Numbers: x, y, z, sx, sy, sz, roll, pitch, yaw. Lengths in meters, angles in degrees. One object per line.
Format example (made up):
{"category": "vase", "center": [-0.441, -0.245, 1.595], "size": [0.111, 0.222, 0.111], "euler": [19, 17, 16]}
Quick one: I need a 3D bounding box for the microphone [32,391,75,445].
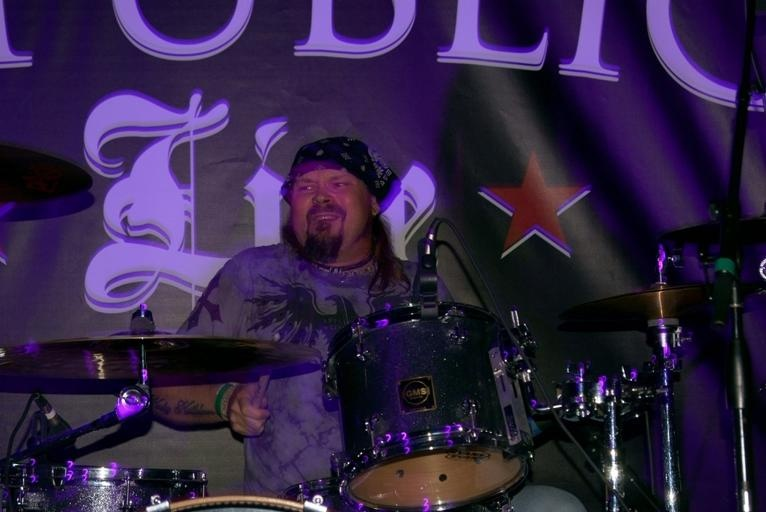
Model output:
{"category": "microphone", "center": [-1.517, 0.730, 3.878], "size": [0.154, 0.221, 0.361], "euler": [4, -21, -22]}

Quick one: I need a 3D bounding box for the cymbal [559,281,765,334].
{"category": "cymbal", "center": [1.432, 0.278, 4.442], "size": [1.003, 0.155, 0.601], "euler": [-4, -20, 0]}

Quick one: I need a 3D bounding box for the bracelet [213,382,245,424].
{"category": "bracelet", "center": [-0.779, 0.710, 4.215], "size": [0.121, 0.171, 0.172], "euler": [-7, -23, -7]}

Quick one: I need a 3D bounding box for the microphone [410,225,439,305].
{"category": "microphone", "center": [0.209, 0.017, 3.848], "size": [0.104, 0.397, 0.205], "euler": [2, -12, 3]}

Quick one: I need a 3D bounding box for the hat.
{"category": "hat", "center": [-0.316, -0.510, 4.703], "size": [0.554, 0.194, 0.537], "euler": [4, -20, -38]}
